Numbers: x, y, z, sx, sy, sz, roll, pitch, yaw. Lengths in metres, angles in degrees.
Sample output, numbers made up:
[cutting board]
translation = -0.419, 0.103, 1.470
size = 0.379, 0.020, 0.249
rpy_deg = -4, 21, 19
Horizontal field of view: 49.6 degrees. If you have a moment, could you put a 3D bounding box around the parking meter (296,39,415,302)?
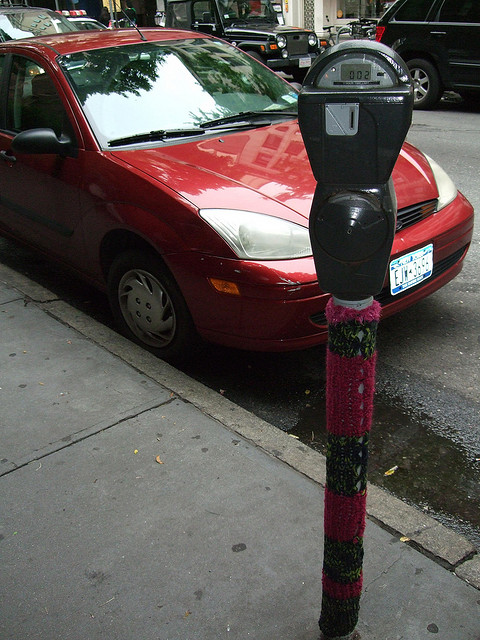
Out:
[parking meter]
translation = 0.184, -0.234, 0.914
size = 0.214, 0.419, 0.191
rpy_deg = 3, 17, 20

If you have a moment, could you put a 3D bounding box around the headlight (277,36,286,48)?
[headlight]
translation = 0.884, -5.840, 10.900
size = 0.071, 0.212, 0.240
rpy_deg = 15, 27, 39
